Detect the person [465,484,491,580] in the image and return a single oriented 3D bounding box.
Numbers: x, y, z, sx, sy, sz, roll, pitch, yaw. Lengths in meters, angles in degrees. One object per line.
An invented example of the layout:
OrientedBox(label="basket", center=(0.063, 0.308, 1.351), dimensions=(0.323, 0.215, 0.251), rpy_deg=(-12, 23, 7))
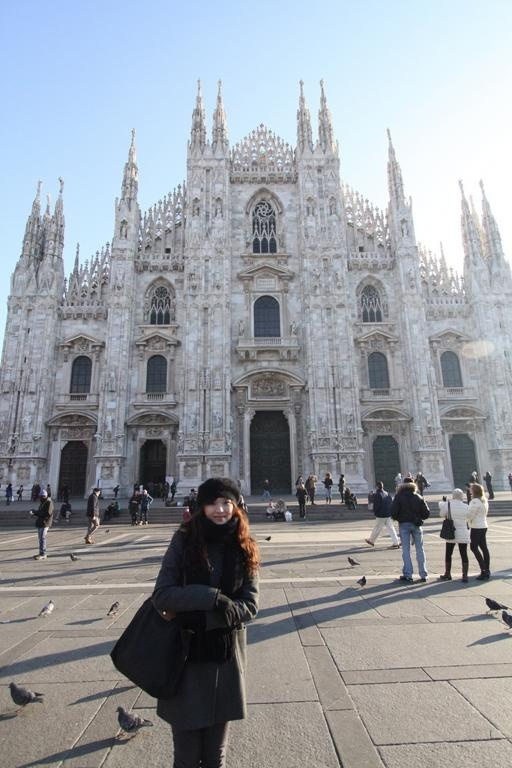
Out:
OrientedBox(label="person", center=(3.355, 2.132, 7.094), dimensions=(0.294, 1.323, 1.145), rpy_deg=(-8, -14, 24))

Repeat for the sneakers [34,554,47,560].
OrientedBox(label="sneakers", center=(-4.247, 3.368, 9.330), dimensions=(0.094, 0.072, 0.164), rpy_deg=(20, -6, 39))

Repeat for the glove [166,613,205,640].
OrientedBox(label="glove", center=(-0.278, 0.966, 1.934), dimensions=(0.110, 0.055, 0.084), rpy_deg=(6, -9, 12))

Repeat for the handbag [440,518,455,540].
OrientedBox(label="handbag", center=(2.735, 2.064, 6.806), dimensions=(0.183, 0.318, 0.257), rpy_deg=(3, -13, -21))

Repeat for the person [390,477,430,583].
OrientedBox(label="person", center=(2.341, 2.096, 7.107), dimensions=(0.511, 1.445, 0.920), rpy_deg=(-6, -13, 18))

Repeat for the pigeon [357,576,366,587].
OrientedBox(label="pigeon", center=(1.460, 2.647, 6.439), dimensions=(0.126, 0.134, 0.137), rpy_deg=(17, -21, -33))

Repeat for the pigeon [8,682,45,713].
OrientedBox(label="pigeon", center=(-1.530, 2.066, 3.215), dimensions=(0.264, 0.151, 0.184), rpy_deg=(2, 28, -19))

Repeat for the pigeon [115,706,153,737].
OrientedBox(label="pigeon", center=(-0.724, 2.006, 2.877), dimensions=(0.226, 0.139, 0.165), rpy_deg=(-1, 10, -7))

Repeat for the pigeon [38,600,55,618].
OrientedBox(label="pigeon", center=(-2.386, 2.506, 5.385), dimensions=(0.142, 0.132, 0.320), rpy_deg=(3, -14, -21))

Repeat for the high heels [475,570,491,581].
OrientedBox(label="high heels", center=(3.231, 2.649, 6.719), dimensions=(0.157, 0.155, 0.216), rpy_deg=(-8, -14, 25))

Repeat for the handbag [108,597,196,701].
OrientedBox(label="handbag", center=(-0.429, 1.072, 1.910), dimensions=(0.297, 0.296, 0.149), rpy_deg=(-8, -13, 24))

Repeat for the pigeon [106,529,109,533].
OrientedBox(label="pigeon", center=(-4.442, 4.338, 14.173), dimensions=(0.087, 0.137, 0.253), rpy_deg=(1, -15, -7))

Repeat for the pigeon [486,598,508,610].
OrientedBox(label="pigeon", center=(2.537, 2.288, 4.968), dimensions=(0.173, 0.148, 0.290), rpy_deg=(-9, -15, 27))

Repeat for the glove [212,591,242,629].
OrientedBox(label="glove", center=(-0.125, 0.918, 1.975), dimensions=(0.103, 0.102, 0.136), rpy_deg=(22, -14, -21))

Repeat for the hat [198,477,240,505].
OrientedBox(label="hat", center=(-0.181, 0.523, 2.277), dimensions=(0.148, 0.116, 0.181), rpy_deg=(5, -19, -6))
